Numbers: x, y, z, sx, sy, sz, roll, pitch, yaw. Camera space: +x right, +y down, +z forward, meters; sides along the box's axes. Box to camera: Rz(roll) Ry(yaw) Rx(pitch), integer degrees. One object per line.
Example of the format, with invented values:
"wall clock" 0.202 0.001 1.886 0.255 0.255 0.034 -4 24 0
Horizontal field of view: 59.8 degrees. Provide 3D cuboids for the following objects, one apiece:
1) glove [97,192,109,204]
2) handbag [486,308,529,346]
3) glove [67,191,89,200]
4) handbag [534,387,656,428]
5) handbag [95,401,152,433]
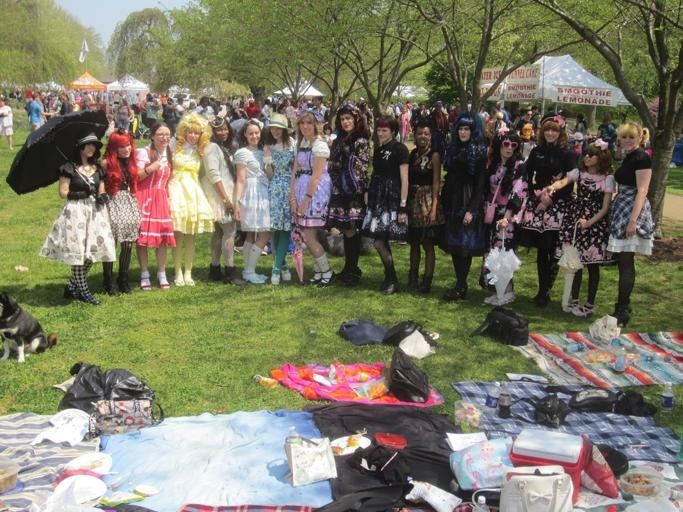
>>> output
"glove" -3.163 -0.759 7.842 0.143 0.141 0.089 -4 8 -25
"handbag" 2.061 0.870 7.419 0.367 0.363 0.519 0 11 -17
"glove" -3.410 -0.773 7.698 0.256 0.122 0.058 -5 9 -30
"handbag" 2.501 1.465 6.055 1.299 0.258 0.546 -1 8 -10
"handbag" -2.070 1.511 5.647 0.524 0.275 0.181 -3 8 -19
